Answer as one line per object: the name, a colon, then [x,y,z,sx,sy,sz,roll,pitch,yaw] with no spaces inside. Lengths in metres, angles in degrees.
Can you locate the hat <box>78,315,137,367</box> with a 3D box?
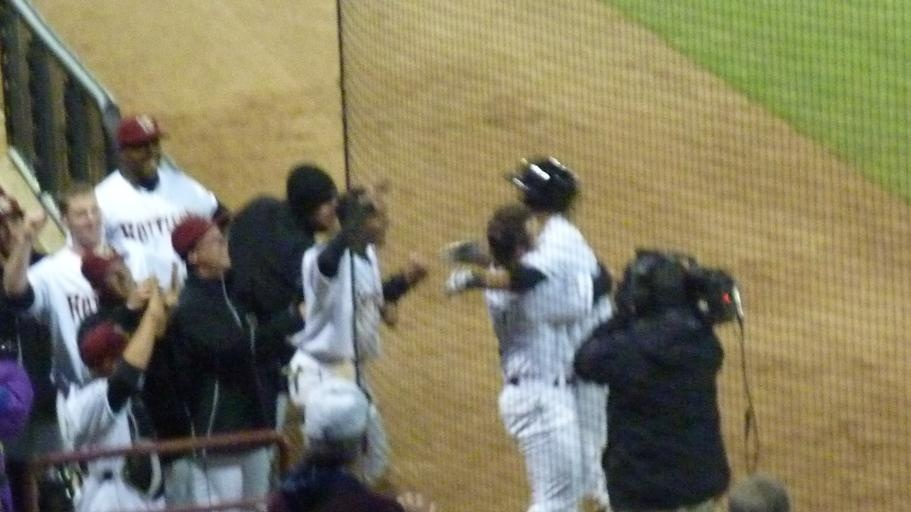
hat: [-2.611,0.600,15.020,0.393,0.280,0.373,5,45,-7]
